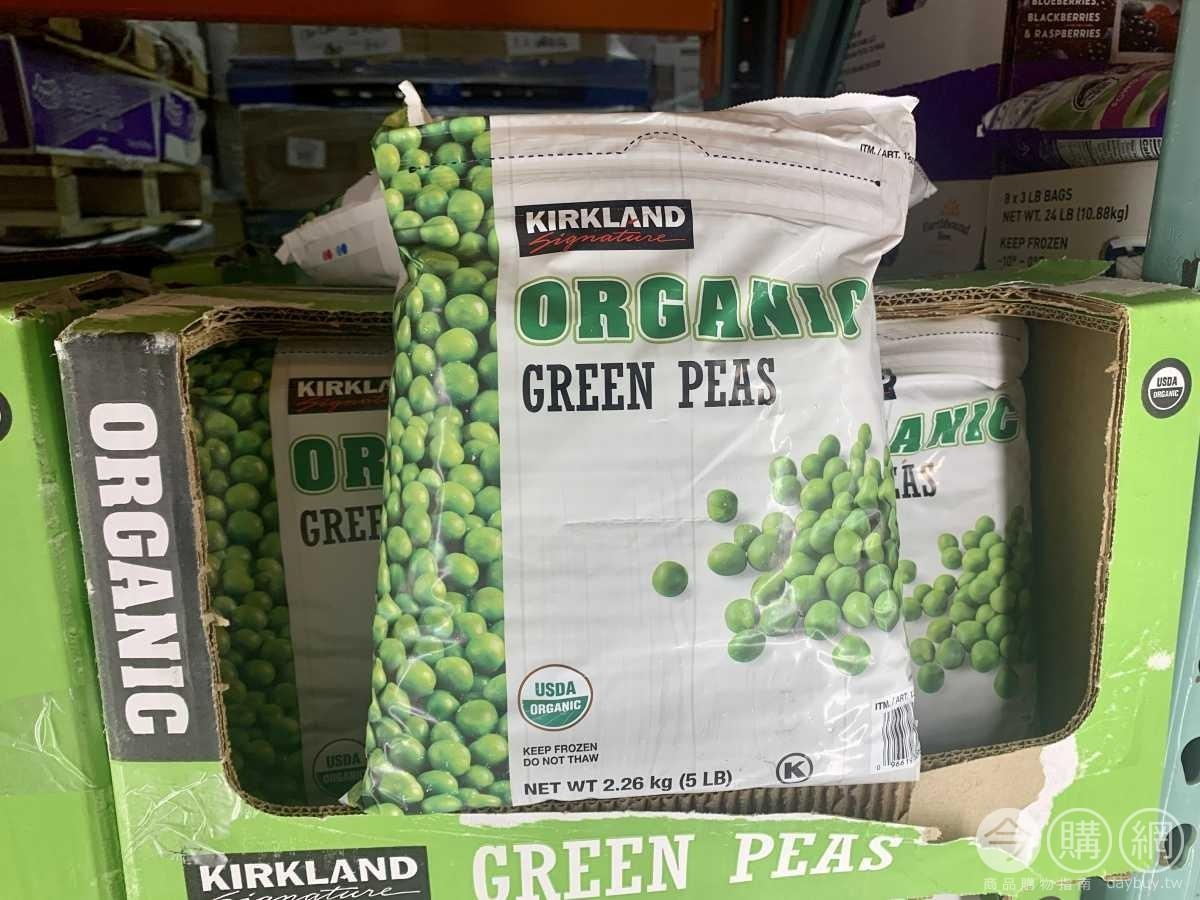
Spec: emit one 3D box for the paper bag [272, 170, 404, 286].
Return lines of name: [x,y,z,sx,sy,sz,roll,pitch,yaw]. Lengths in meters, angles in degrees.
paper bag: [-0.283,-0.277,1.363,0.169,0.066,0.164,5,-38,16]
